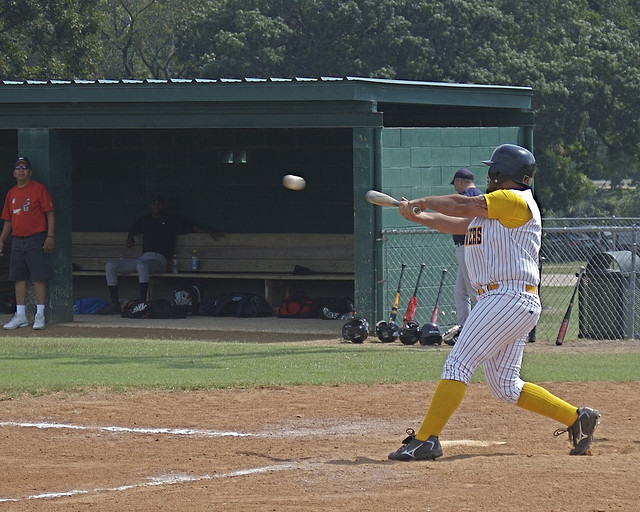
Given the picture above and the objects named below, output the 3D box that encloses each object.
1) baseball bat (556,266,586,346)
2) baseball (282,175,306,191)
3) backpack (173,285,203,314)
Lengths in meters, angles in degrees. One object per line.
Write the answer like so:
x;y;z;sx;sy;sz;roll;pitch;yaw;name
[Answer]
4.366;0.939;28.385;0.130;1.341;0.086;27;-18;-20;baseball bat
-0.347;-0.979;22.894;0.255;0.138;0.260;12;0;41;baseball
-2.299;0.805;28.081;0.335;0.595;0.203;-1;5;4;backpack
